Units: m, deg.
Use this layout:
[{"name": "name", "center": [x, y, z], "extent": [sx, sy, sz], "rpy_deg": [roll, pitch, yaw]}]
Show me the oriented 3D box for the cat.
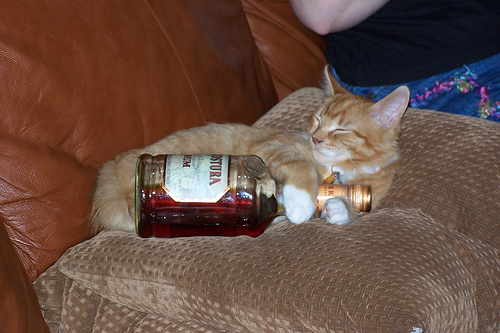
[{"name": "cat", "center": [-0.069, -0.065, 1.695], "extent": [1.245, 0.655, 0.453], "rpy_deg": [-8, 20, -11]}]
